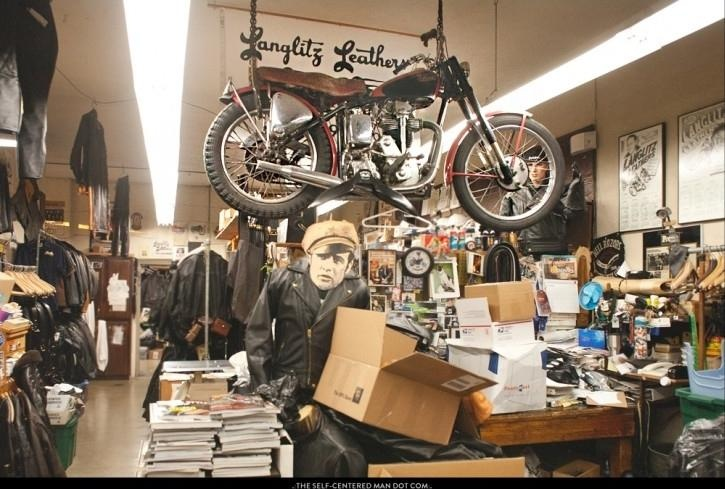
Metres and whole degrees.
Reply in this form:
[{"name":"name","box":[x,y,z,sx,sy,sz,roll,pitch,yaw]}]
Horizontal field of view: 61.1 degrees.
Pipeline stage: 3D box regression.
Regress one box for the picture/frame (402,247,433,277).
[{"name":"picture/frame","box":[0.578,0.218,6.471,0.355,0.385,0.146,1,-30,7]}]

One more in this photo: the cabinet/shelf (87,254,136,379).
[{"name":"cabinet/shelf","box":[-4.114,1.206,10.263,0.677,2.021,0.290,3,-5,-28]}]

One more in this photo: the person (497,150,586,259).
[{"name":"person","box":[1.919,-0.302,6.317,0.845,1.213,0.529,5,-1,0]}]

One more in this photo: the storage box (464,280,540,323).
[{"name":"storage box","box":[1.173,0.455,4.988,0.372,0.263,0.387,-3,-2,34]}]

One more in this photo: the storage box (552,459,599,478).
[{"name":"storage box","box":[1.867,1.971,5.400,0.260,0.117,0.136,-2,-2,-38]}]

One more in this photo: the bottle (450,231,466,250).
[{"name":"bottle","box":[1.069,-0.039,6.925,0.163,0.202,0.171,1,-3,2]}]

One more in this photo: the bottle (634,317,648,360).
[{"name":"bottle","box":[2.657,0.882,5.872,0.129,0.404,0.062,-1,-4,16]}]

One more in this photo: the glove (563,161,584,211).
[{"name":"glove","box":[2.334,-0.629,6.827,0.239,0.596,0.243,2,11,11]}]

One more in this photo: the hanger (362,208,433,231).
[{"name":"hanger","box":[0.501,-0.391,8.910,0.808,0.180,0.474,6,34,21]}]

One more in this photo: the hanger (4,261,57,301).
[{"name":"hanger","box":[-3.868,0.418,7.108,0.424,0.212,0.575,26,3,31]}]
